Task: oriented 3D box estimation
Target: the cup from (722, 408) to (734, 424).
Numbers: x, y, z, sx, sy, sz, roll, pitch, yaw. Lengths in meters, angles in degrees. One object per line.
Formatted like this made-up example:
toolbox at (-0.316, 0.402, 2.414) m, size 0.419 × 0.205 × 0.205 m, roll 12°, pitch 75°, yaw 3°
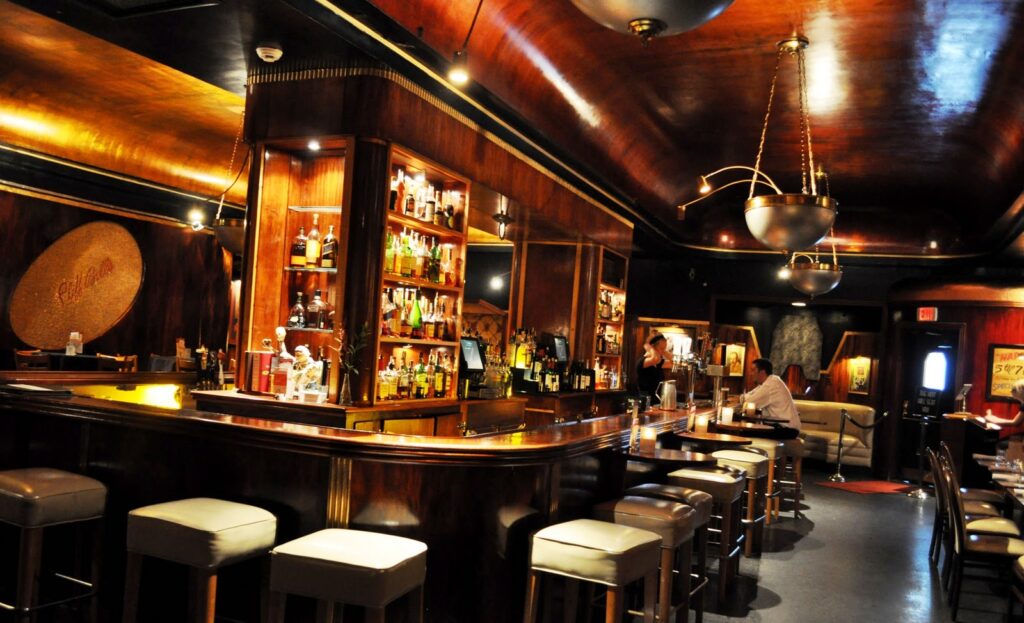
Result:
cup at (2.555, 1.230, 8.927) m, size 0.112 × 0.190 × 0.177 m, roll 1°, pitch -7°, yaw 20°

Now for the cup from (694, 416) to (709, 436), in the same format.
cup at (1.974, 1.192, 7.849) m, size 0.191 × 0.196 × 0.182 m, roll 2°, pitch -5°, yaw 0°

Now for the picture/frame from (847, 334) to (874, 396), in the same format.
picture/frame at (6.777, 1.016, 14.564) m, size 0.443 × 1.164 × 0.169 m, roll 1°, pitch -7°, yaw 22°

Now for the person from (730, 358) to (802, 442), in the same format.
person at (3.436, 1.197, 10.223) m, size 0.937 × 1.074 × 0.817 m, roll -2°, pitch -9°, yaw 29°

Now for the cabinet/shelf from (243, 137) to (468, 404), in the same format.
cabinet/shelf at (-1.497, -0.504, 7.860) m, size 1.850 × 2.150 × 2.050 m, roll -2°, pitch -6°, yaw 44°

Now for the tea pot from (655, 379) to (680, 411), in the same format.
tea pot at (1.779, 0.951, 8.556) m, size 0.156 × 0.325 × 0.266 m, roll 3°, pitch -7°, yaw 3°

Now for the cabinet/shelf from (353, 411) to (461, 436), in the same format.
cabinet/shelf at (-0.990, 1.079, 7.281) m, size 0.188 × 0.226 × 1.325 m, roll -2°, pitch -8°, yaw 37°

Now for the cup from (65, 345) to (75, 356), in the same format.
cup at (-5.989, 0.519, 10.083) m, size 0.141 × 0.126 × 0.073 m, roll 2°, pitch 2°, yaw 8°

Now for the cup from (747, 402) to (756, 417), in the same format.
cup at (3.204, 1.295, 10.025) m, size 0.144 × 0.149 × 0.141 m, roll 1°, pitch -9°, yaw 0°

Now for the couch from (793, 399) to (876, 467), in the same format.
couch at (6.046, 2.269, 13.988) m, size 1.303 × 1.211 × 1.299 m, roll 0°, pitch -7°, yaw 26°
